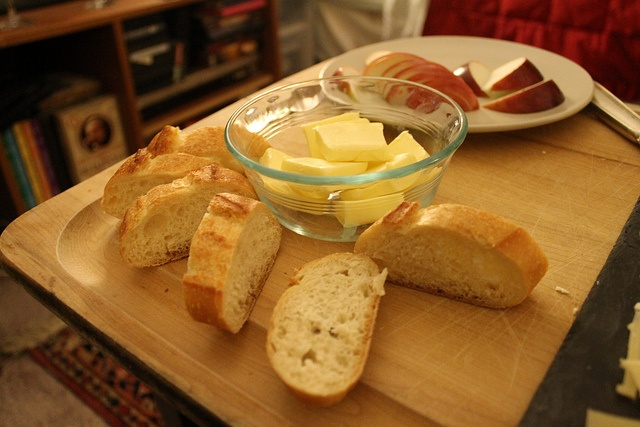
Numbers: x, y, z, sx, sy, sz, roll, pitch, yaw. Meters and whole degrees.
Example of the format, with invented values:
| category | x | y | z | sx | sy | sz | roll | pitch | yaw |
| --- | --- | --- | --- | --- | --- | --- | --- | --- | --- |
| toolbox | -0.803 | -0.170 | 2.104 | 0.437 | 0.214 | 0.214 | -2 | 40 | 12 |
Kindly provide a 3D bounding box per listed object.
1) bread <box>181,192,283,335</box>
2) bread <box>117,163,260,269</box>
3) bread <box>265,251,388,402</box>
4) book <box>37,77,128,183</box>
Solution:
| category | x | y | z | sx | sy | sz | roll | pitch | yaw |
| --- | --- | --- | --- | --- | --- | --- | --- | --- | --- |
| bread | -0.176 | 0.084 | 1.008 | 0.140 | 0.131 | 0.253 | 14 | 50 | 11 |
| bread | -0.276 | -0.001 | 1.126 | 0.329 | 0.186 | 0.060 | -17 | 39 | -38 |
| bread | 0.010 | 0.197 | 0.960 | 0.193 | 0.078 | 0.292 | 14 | 51 | 10 |
| book | -0.959 | -0.342 | 2.001 | 0.207 | 0.415 | 0.300 | 13 | 33 | 22 |
